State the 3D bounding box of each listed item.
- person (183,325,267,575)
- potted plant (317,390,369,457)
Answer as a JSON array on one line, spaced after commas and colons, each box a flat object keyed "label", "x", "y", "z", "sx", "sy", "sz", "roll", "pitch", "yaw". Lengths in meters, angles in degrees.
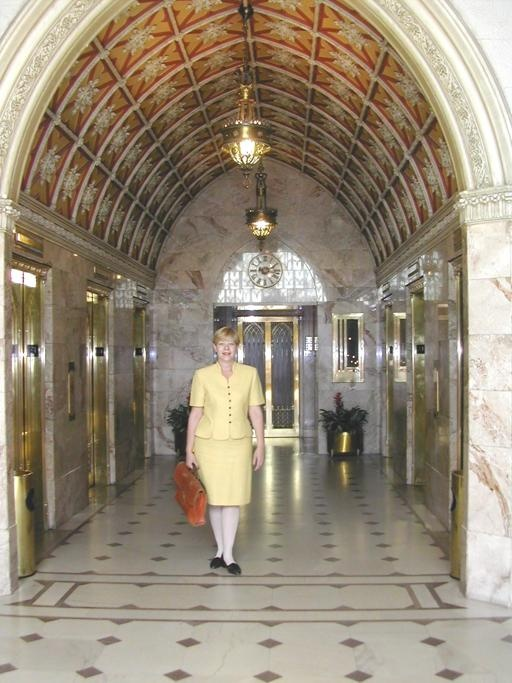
[{"label": "person", "x": -0.236, "y": 0.858, "z": 4.206, "sx": 0.607, "sy": 1.893, "sz": 0.559, "roll": 0, "pitch": -6, "yaw": -6}, {"label": "potted plant", "x": 1.649, "y": 1.582, "z": 10.376, "sx": 0.829, "sy": 1.221, "sz": 0.424, "roll": -1, "pitch": -6, "yaw": 5}]
